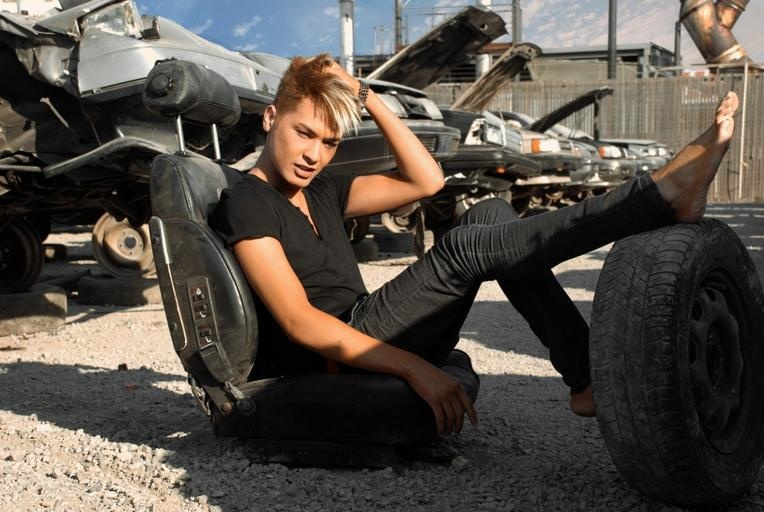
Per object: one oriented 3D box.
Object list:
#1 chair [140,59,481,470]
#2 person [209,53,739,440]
[{"bbox_3d":[-0.245,-0.001,2.849,1.344,1.612,1.103,2,10,15],"label":"chair"},{"bbox_3d":[0.347,-0.056,2.594,2.116,1.412,0.963,1,11,23],"label":"person"}]
